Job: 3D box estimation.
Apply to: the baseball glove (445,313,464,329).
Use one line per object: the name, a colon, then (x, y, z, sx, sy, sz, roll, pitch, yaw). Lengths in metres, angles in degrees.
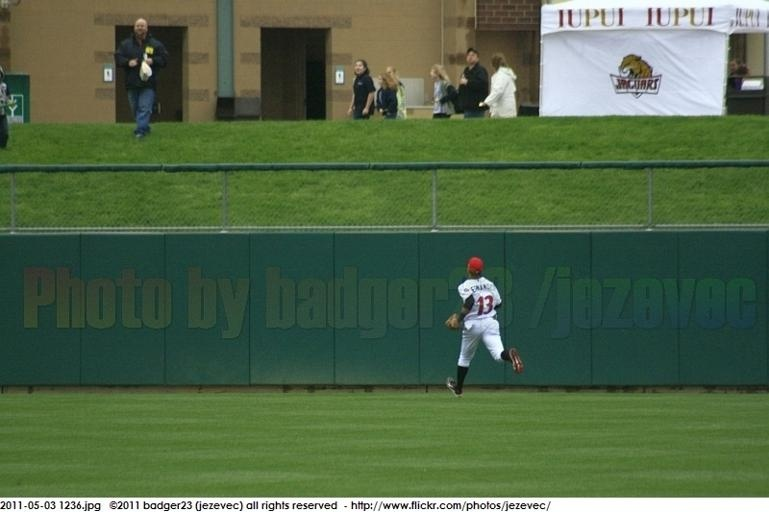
baseball glove: (1.310, 1.162, 36.537, 0.157, 0.161, 0.284, 28, 29, -4)

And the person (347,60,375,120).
person: (-0.489, -3.609, 42.681, 0.533, 1.316, 1.736, -1, 2, -1)

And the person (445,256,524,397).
person: (1.792, 1.272, 36.494, 1.287, 2.534, 0.809, -1, 2, 1)

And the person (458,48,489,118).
person: (1.908, -3.695, 42.294, 0.645, 1.431, 1.465, 0, 2, 2)

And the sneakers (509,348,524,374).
sneakers: (2.462, 1.865, 36.249, 0.223, 0.493, 0.213, -20, -10, -12)

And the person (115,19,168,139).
person: (-5.057, -3.652, 40.731, 0.936, 2.382, 0.938, 1, 2, 42)

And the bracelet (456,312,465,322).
bracelet: (1.420, 1.077, 36.286, 0.139, 0.161, 0.232, 0, 2, 2)

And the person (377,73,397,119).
person: (0.052, -3.429, 42.250, 0.445, 0.979, 0.811, -1, 2, 1)
